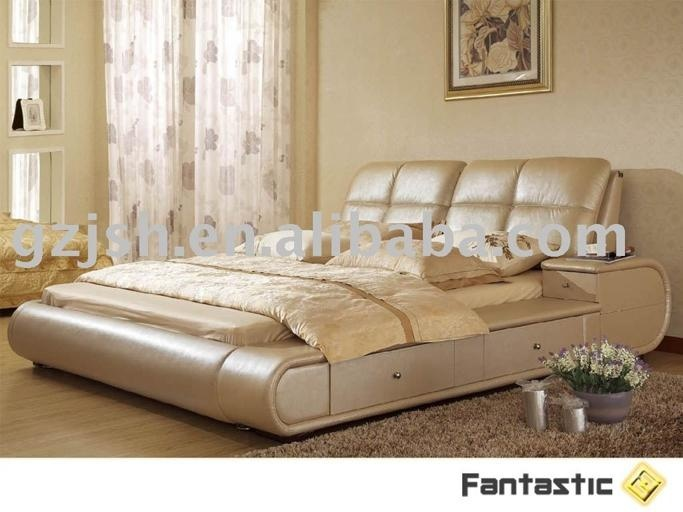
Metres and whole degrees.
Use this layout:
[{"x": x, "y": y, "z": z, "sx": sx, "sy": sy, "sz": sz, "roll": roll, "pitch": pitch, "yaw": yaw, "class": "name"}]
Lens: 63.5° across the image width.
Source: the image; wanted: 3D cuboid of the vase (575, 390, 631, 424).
[{"x": 1.159, "y": 0.641, "z": 2.437, "sx": 0.181, "sy": 0.096, "sz": 0.171, "roll": 0, "pitch": 0, "yaw": -10, "class": "vase"}]

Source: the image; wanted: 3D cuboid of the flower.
[{"x": 1.066, "y": 0.427, "z": 2.444, "sx": 0.326, "sy": 0.187, "sz": 0.341, "roll": 2, "pitch": -5, "yaw": -30, "class": "flower"}]
